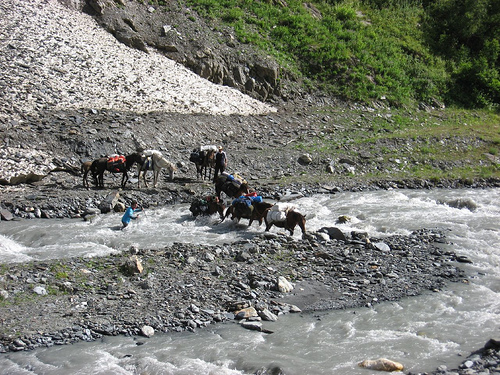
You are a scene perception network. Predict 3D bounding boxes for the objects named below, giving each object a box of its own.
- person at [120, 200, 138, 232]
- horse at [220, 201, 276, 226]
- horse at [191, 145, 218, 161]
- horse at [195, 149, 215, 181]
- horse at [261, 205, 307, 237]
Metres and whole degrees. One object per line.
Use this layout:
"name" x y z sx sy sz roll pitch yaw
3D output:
"person" -6.049 1.413 33.315 0.698 1.382 1.130 4 11 -8
"horse" -0.002 1.329 33.243 2.858 1.125 2.202 -2 7 -19
"horse" -2.761 -2.043 39.380 1.314 0.454 1.117 8 13 34
"horse" -2.604 -1.360 39.715 1.142 1.885 0.832 9 12 18
"horse" 1.797 1.668 32.565 2.945 1.358 1.020 8 2 45
